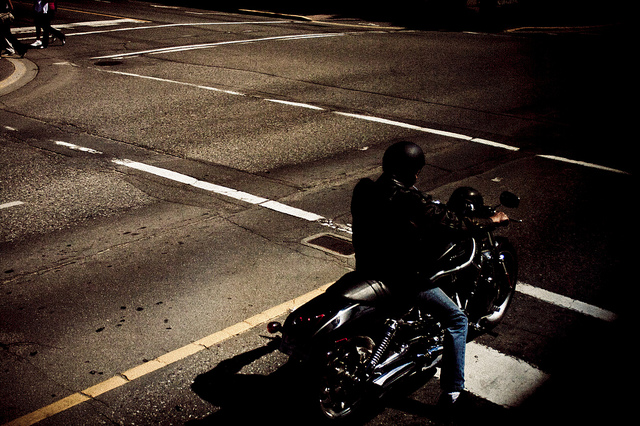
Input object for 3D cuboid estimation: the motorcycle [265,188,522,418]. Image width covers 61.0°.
[{"bbox_3d":[0.892,1.133,6.289,3.441,1.794,1.728,-24,21,-27],"label":"motorcycle"}]
